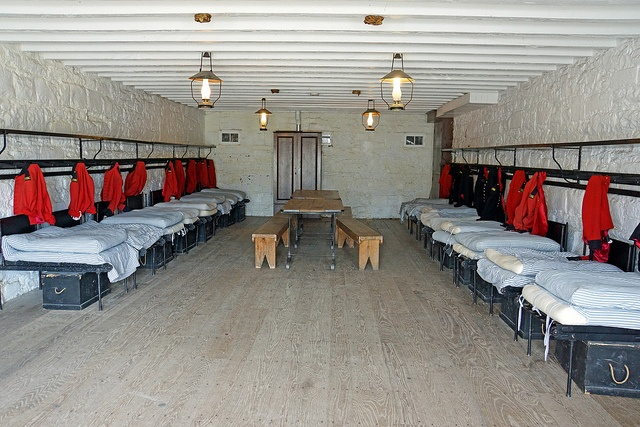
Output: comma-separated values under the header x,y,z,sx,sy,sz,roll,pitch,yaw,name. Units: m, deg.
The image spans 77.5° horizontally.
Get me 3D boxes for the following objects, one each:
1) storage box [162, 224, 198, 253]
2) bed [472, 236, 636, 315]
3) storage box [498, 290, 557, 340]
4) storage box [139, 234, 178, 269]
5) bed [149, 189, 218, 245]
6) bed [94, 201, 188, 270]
x,y,z,sx,sy,sz,roll,pitch,yaw,name
-2.588,0.496,7.420,0.440,0.513,0.744,0,3,1,storage box
2.561,0.686,4.348,0.976,0.293,1.007,-1,3,-4,bed
2.198,1.078,4.196,0.228,0.517,0.635,0,5,3,storage box
-2.605,0.517,6.472,0.472,0.554,0.841,0,6,-1,storage box
-2.713,-0.003,7.890,0.943,0.562,1.193,3,6,6,bed
-2.759,0.419,6.291,1.113,0.287,0.832,4,11,8,bed
